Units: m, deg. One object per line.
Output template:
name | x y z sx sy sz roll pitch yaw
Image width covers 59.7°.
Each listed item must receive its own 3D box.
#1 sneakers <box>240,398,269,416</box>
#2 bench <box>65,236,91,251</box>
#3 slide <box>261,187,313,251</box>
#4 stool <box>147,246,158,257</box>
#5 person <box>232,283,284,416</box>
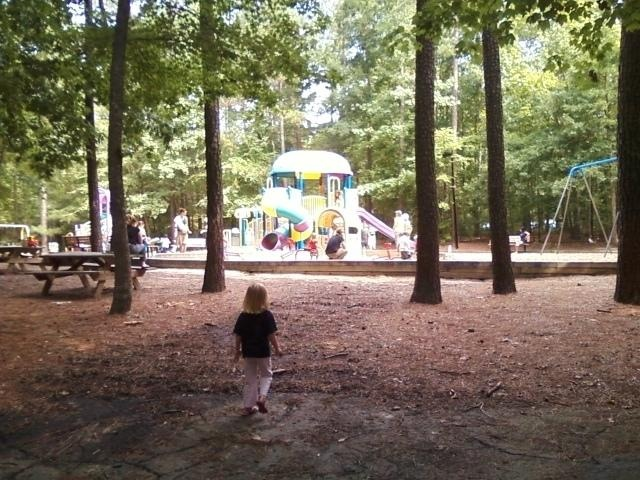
sneakers | -0.777 2.055 6.831 0.387 0.165 0.146 -8 -28 4
bench | -10.241 0.134 23.633 0.629 0.588 0.465 0 -3 -14
slide | -1.213 -1.299 27.241 2.018 3.262 3.264 -7 2 -26
stool | -8.018 0.556 26.643 0.435 0.415 0.434 -1 -3 -15
person | -0.785 1.333 6.947 0.563 1.535 0.670 -2 9 -12
